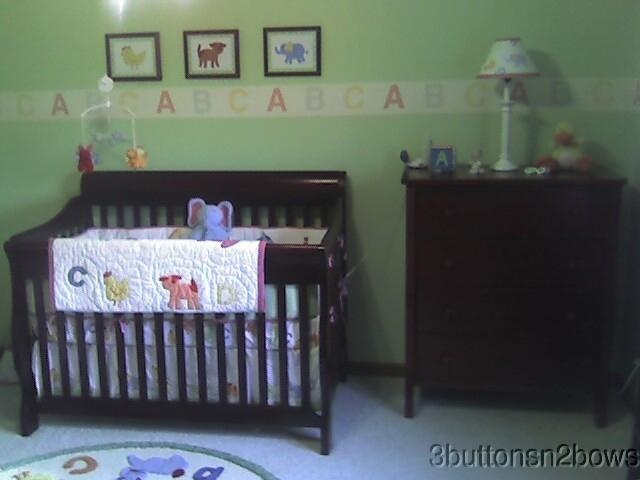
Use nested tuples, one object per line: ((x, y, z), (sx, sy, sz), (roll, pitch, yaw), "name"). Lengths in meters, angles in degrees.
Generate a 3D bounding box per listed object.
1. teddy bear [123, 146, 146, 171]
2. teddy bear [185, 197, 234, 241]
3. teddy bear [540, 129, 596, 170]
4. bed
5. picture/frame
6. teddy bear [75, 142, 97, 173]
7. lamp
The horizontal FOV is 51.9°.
((-0.858, -0.377, 3.059), (0.095, 0.101, 0.045), (-9, 2, -9), "teddy bear")
((-0.502, -0.061, 2.981), (0.202, 0.247, 0.108), (5, 17, -9), "teddy bear")
((0.958, -0.357, 2.570), (0.210, 0.192, 0.103), (-8, 1, 22), "teddy bear")
((-0.528, 0.313, 3.048), (1.529, 1.296, 1.066), (1, 10, 5), "bed")
((-0.481, -0.834, 2.967), (0.999, 0.231, 0.040), (-2, 14, 7), "picture/frame")
((-1.095, -0.380, 3.080), (0.077, 0.131, 0.031), (-2, 14, 4), "teddy bear")
((0.732, -0.542, 2.635), (0.157, 0.503, 0.233), (-9, 15, -20), "lamp")
